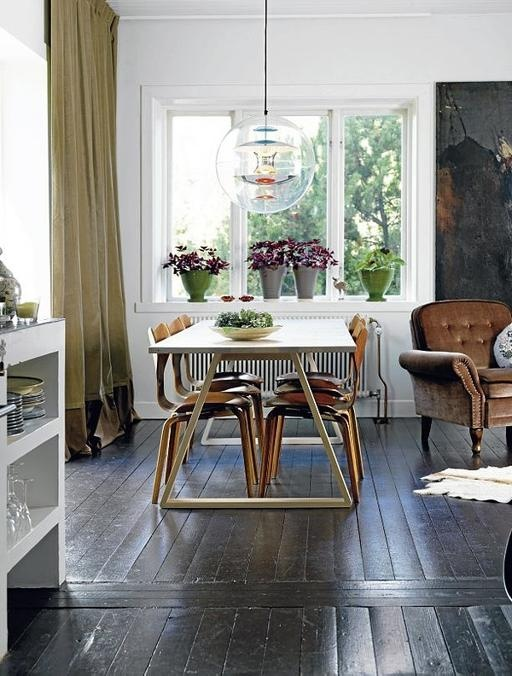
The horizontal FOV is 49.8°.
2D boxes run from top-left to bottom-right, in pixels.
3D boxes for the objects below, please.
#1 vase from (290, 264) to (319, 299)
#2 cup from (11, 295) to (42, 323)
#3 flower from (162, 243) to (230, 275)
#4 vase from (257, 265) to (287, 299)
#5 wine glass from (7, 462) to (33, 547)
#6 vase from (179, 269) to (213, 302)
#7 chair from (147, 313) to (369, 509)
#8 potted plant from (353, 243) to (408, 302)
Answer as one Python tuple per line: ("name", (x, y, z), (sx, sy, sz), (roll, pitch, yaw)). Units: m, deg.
("vase", (0.407, -0.462, 4.521), (0.226, 0.272, 0.244), (0, 1, 23))
("cup", (-0.632, -0.080, 1.512), (0.057, 0.053, 0.063), (0, -6, -2))
("flower", (-0.512, -0.660, 4.638), (0.560, 0.288, 0.361), (-1, 0, -4))
("vase", (0.142, -0.441, 4.571), (0.248, 0.277, 0.248), (-1, -4, 18))
("wine glass", (-0.615, 0.418, 1.437), (0.056, 0.175, 0.230), (0, 0, -21))
("vase", (-0.489, -0.422, 4.515), (0.232, 0.244, 0.248), (0, -2, -1))
("chair", (0.011, 0.330, 2.762), (0.895, 0.813, 1.123), (-1, 0, 5))
("potted plant", (0.992, -0.521, 4.497), (0.388, 0.440, 0.423), (0, -2, -3))
